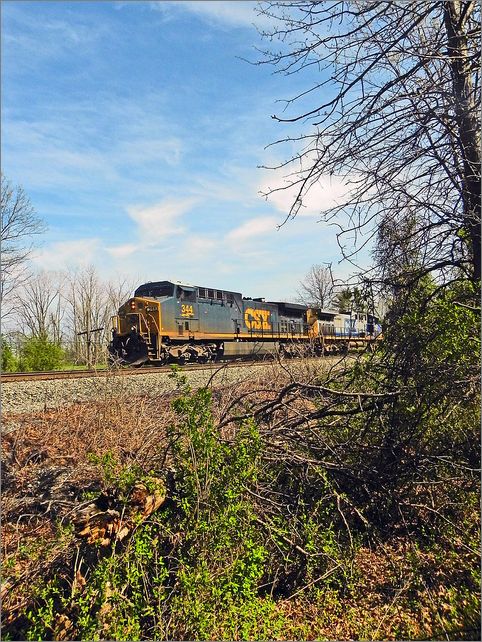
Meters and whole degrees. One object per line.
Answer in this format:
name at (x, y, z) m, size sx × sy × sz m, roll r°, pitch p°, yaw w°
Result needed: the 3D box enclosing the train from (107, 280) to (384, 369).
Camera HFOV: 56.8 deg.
train at (0.247, 0.278, 19.939) m, size 2.450 × 2.788 × 13.543 m, roll -4°, pitch -4°, yaw 37°
